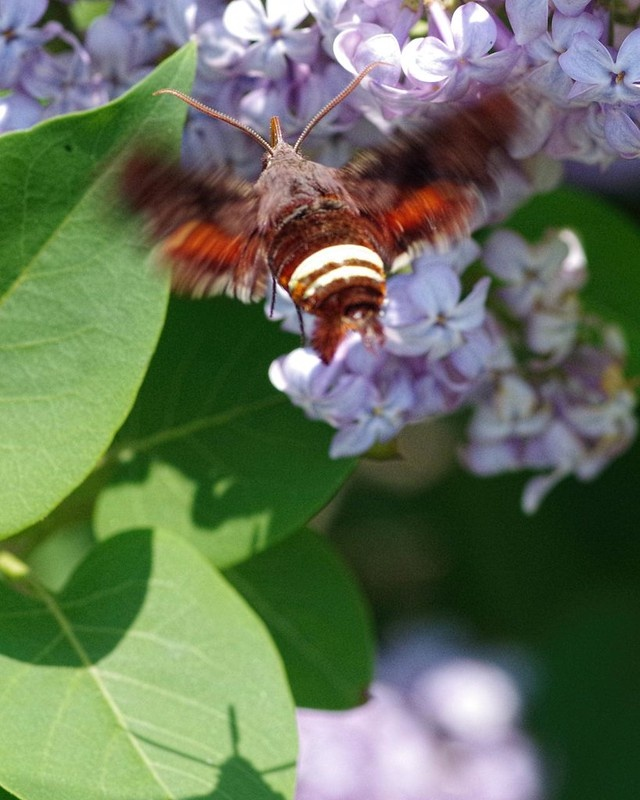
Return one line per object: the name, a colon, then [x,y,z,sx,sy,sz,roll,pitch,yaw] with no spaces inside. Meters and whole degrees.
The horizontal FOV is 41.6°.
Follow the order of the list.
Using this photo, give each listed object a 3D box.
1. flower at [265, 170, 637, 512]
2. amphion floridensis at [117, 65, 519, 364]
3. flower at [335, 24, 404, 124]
flower: [0.102,-0.047,0.586,0.207,0.184,0.075,-21,29,13]
amphion floridensis: [-0.005,-0.116,0.496,0.255,0.106,0.147,-15,48,-8]
flower: [0.032,-0.199,0.497,0.058,0.036,0.066,1,45,-2]
